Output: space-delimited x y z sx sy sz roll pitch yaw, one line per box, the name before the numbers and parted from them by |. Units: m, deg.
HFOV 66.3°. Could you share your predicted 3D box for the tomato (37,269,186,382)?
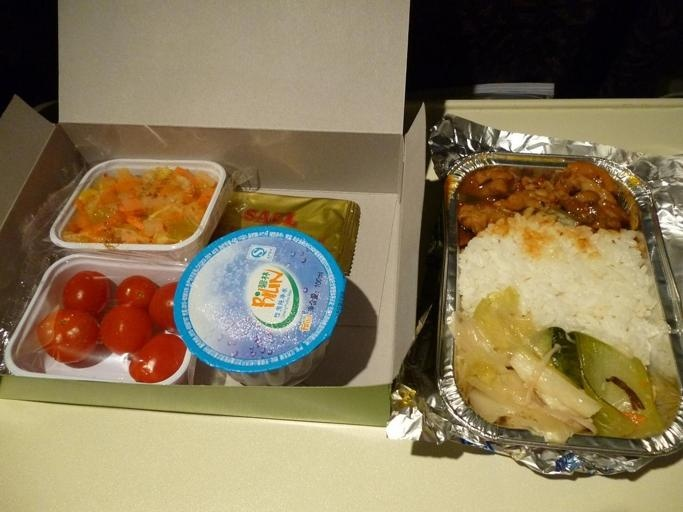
tomato | -0.572 0.173 1.358 0.390 0.094 0.261 10 67 10
